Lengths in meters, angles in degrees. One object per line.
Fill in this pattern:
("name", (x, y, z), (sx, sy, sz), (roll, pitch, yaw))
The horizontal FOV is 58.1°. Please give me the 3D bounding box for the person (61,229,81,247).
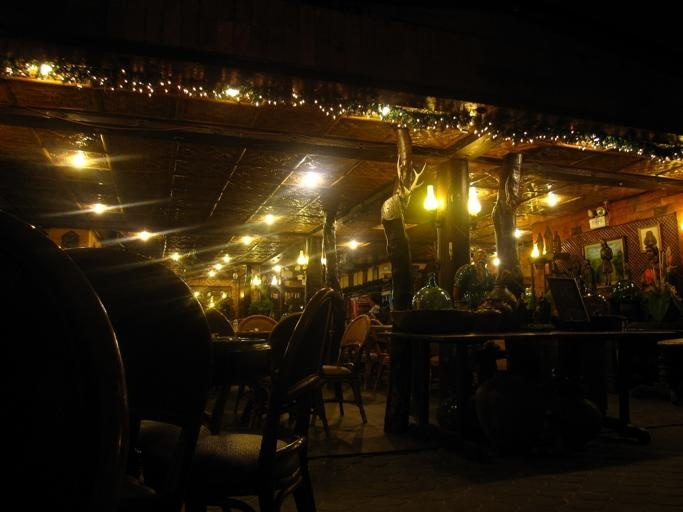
("person", (-6.214, -0.428, 14.089), (0.390, 0.317, 0.805), (-2, 3, -25))
